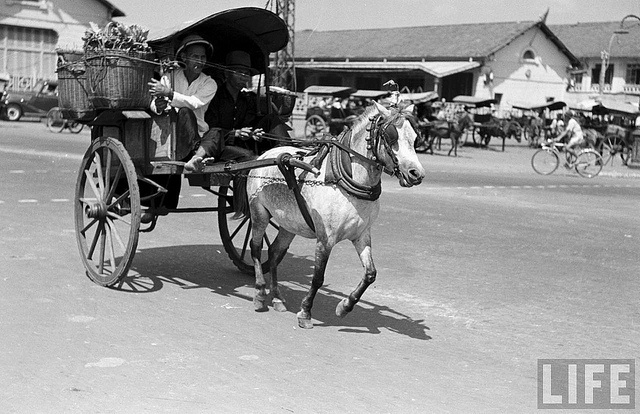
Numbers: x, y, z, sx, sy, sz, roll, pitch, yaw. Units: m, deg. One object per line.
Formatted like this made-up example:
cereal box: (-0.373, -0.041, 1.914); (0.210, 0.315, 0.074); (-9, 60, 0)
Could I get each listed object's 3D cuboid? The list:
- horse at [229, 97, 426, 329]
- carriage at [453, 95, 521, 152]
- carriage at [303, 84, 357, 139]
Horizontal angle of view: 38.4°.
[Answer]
horse: (0.103, 0.163, 12.431); (1.141, 2.852, 4.013); (2, 0, -32)
carriage: (9.005, -4.159, 43.791); (5.555, 2.728, 1.801); (1, 9, 3)
carriage: (0.468, -4.323, 40.465); (3.267, 2.465, 1.884); (3, 14, 19)
